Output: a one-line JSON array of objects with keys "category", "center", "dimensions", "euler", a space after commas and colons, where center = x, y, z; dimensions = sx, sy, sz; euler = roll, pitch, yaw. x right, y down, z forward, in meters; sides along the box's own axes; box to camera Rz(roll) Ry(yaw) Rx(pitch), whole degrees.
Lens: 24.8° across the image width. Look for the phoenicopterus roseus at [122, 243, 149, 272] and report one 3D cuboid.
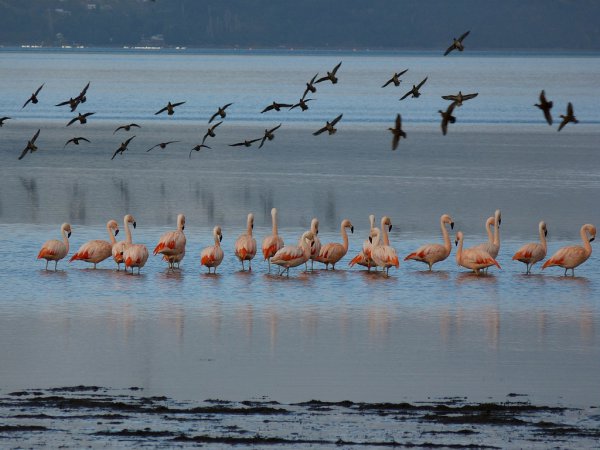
[{"category": "phoenicopterus roseus", "center": [-5.050, 1.045, 41.433], "dimensions": [0.859, 0.835, 1.229], "euler": [3, 5, 12]}]
